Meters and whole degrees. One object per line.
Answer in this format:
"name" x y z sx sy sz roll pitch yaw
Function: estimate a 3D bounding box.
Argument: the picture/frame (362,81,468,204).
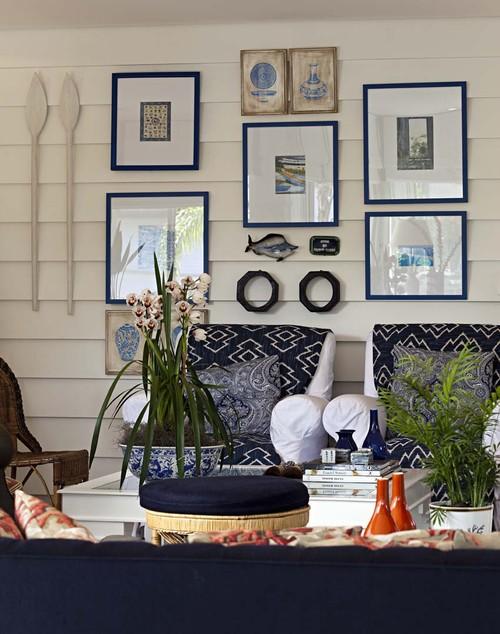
"picture/frame" 0.817 -0.865 4.322 0.495 0.605 0.020 2 33 16

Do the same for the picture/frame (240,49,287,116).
"picture/frame" 0.072 -1.178 4.409 0.308 0.440 0.029 0 -1 0

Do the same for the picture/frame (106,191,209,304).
"picture/frame" -0.426 -0.328 4.097 0.530 0.601 0.026 1 -3 -2

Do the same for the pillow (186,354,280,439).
"pillow" -0.048 0.294 3.635 0.302 0.343 0.107 -11 -24 4

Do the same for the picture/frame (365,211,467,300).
"picture/frame" 0.832 -0.297 4.284 0.402 0.383 0.015 0 -3 4

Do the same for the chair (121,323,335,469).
"chair" 0.050 0.265 3.729 0.619 0.610 0.609 -1 -3 8

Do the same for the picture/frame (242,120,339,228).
"picture/frame" 0.217 -0.698 4.375 0.494 0.562 0.027 0 -4 2

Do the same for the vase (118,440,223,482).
"vase" -0.195 0.381 2.331 0.253 0.110 0.239 -3 4 -8

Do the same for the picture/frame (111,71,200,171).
"picture/frame" -0.465 -0.984 4.443 0.462 0.528 0.020 1 1 7
